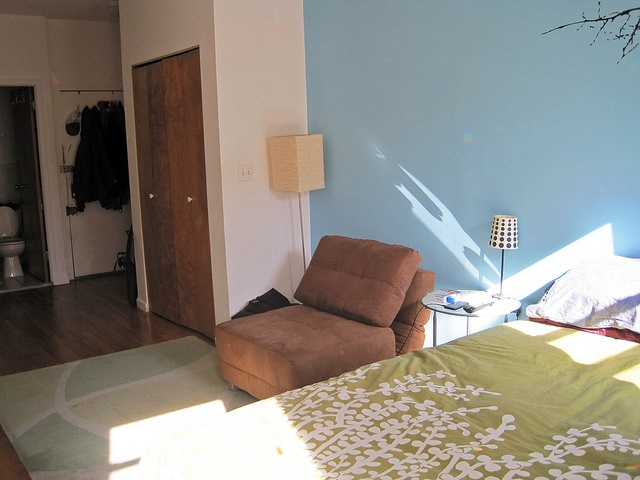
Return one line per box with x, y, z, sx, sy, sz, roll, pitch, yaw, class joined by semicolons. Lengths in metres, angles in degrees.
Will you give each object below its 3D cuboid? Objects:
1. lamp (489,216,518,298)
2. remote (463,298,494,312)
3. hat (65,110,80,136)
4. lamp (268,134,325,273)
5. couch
1.190;0.121;3.087;0.172;0.532;0.288;0;10;22;lamp
0.973;0.382;2.926;0.241;0.028;0.065;-13;19;-38;remote
-3.111;-1.394;6.015;0.110;0.306;0.178;18;10;42;hat
-0.175;-0.199;4.288;0.427;1.440;0.419;-15;29;-21;lamp
-0.018;0.561;3.327;1.517;0.918;1.493;-2;7;16;couch
